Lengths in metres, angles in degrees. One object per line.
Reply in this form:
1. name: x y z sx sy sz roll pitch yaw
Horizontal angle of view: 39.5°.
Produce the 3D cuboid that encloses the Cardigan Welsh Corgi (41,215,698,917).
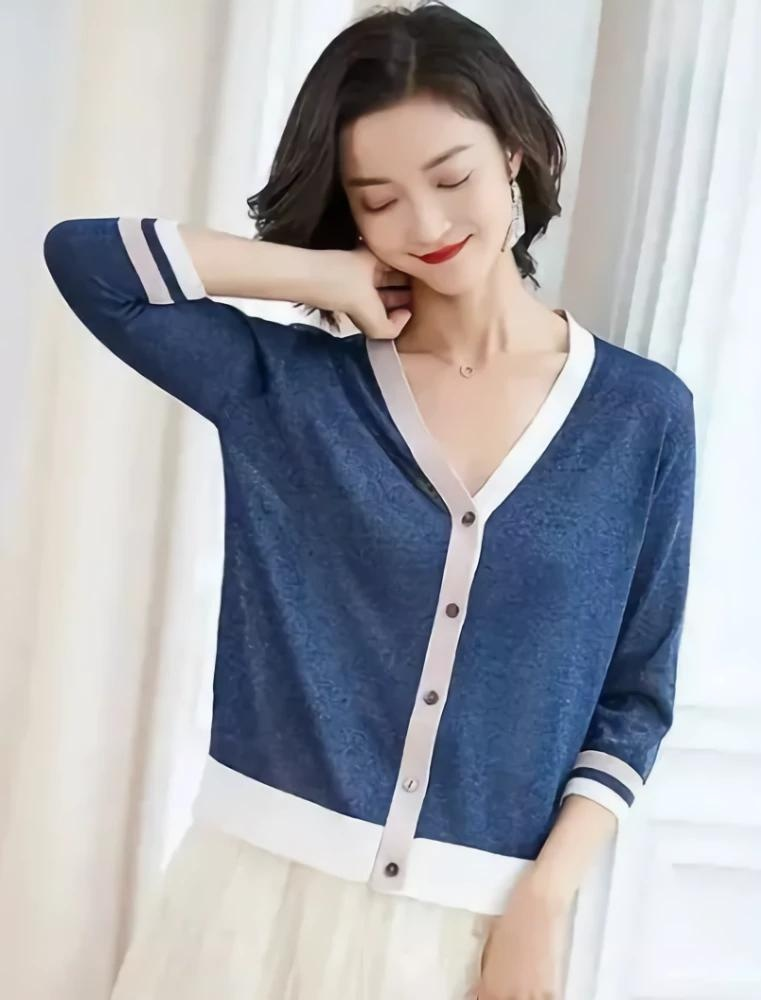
1. Cardigan Welsh Corgi: -0.010 0.069 1.191 0.909 0.673 0.261 11 6 10
